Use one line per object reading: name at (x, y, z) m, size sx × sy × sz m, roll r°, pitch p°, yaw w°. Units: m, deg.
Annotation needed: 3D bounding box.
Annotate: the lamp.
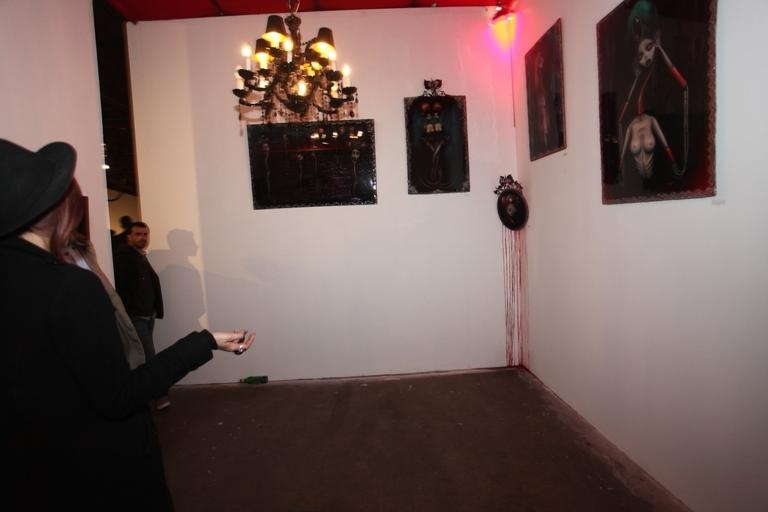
lamp at (-0.756, -1.779, 4.808) m, size 1.187 × 1.323 × 1.872 m, roll -3°, pitch 9°, yaw -16°
